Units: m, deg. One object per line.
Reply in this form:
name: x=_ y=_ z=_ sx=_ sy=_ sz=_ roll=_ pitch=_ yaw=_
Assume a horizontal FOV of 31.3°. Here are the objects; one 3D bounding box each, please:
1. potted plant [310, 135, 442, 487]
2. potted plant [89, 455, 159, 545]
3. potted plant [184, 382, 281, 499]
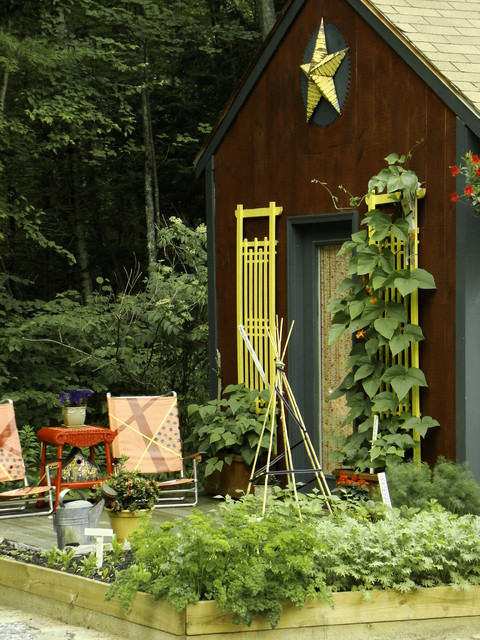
potted plant: x=0.965 y=-0.048 z=6.212 sx=0.571 sy=2.230 sz=1.003 roll=-3 pitch=-1 yaw=-25
potted plant: x=-0.719 y=1.141 z=5.463 sx=0.528 sy=0.487 sz=0.451 roll=-2 pitch=1 yaw=-7
potted plant: x=-0.088 y=1.005 z=7.370 sx=1.144 sy=1.028 sz=0.910 roll=0 pitch=-7 yaw=1
